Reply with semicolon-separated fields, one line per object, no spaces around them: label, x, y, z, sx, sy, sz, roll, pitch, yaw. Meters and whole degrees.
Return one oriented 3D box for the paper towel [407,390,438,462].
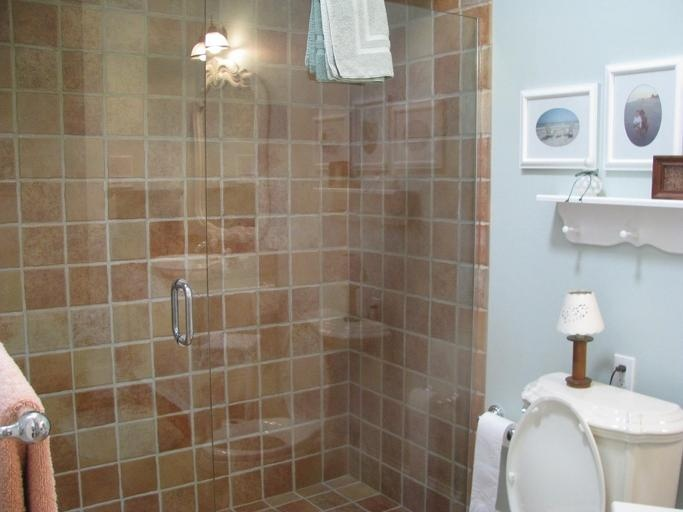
paper towel;0.362;0.775;2.671;0.138;0.348;0.016;-3;8;-26

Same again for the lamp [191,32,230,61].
lamp;-0.491;-0.783;2.153;0.105;0.064;0.108;2;10;39
